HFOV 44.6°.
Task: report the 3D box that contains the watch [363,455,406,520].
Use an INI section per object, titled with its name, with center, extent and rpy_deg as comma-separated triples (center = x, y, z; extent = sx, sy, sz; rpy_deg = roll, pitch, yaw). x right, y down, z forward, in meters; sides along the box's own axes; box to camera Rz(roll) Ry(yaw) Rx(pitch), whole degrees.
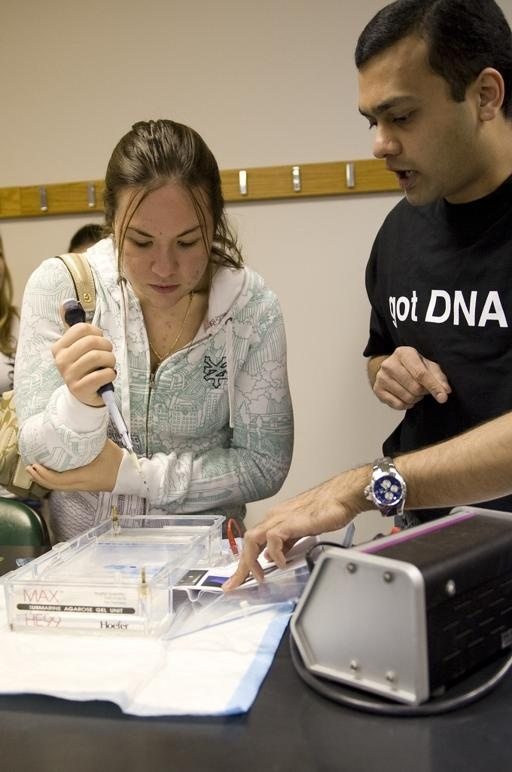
[watch]
center = 0.192, 0.151, 0.910
extent = 0.057, 0.079, 0.077
rpy_deg = -13, -26, 0
